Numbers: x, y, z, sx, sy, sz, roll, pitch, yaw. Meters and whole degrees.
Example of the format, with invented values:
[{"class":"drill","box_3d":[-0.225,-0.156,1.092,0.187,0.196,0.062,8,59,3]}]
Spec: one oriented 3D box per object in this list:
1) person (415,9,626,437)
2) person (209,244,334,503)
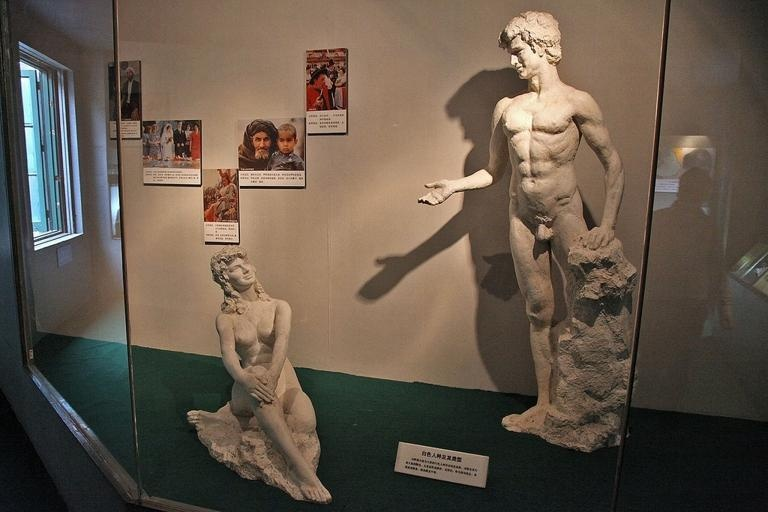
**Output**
[{"class":"person","box_3d":[0.932,-0.195,4.036,0.835,2.383,0.383,-1,7,2]},{"class":"person","box_3d":[-0.643,0.648,4.044,0.804,1.367,0.357,6,10,42]}]
